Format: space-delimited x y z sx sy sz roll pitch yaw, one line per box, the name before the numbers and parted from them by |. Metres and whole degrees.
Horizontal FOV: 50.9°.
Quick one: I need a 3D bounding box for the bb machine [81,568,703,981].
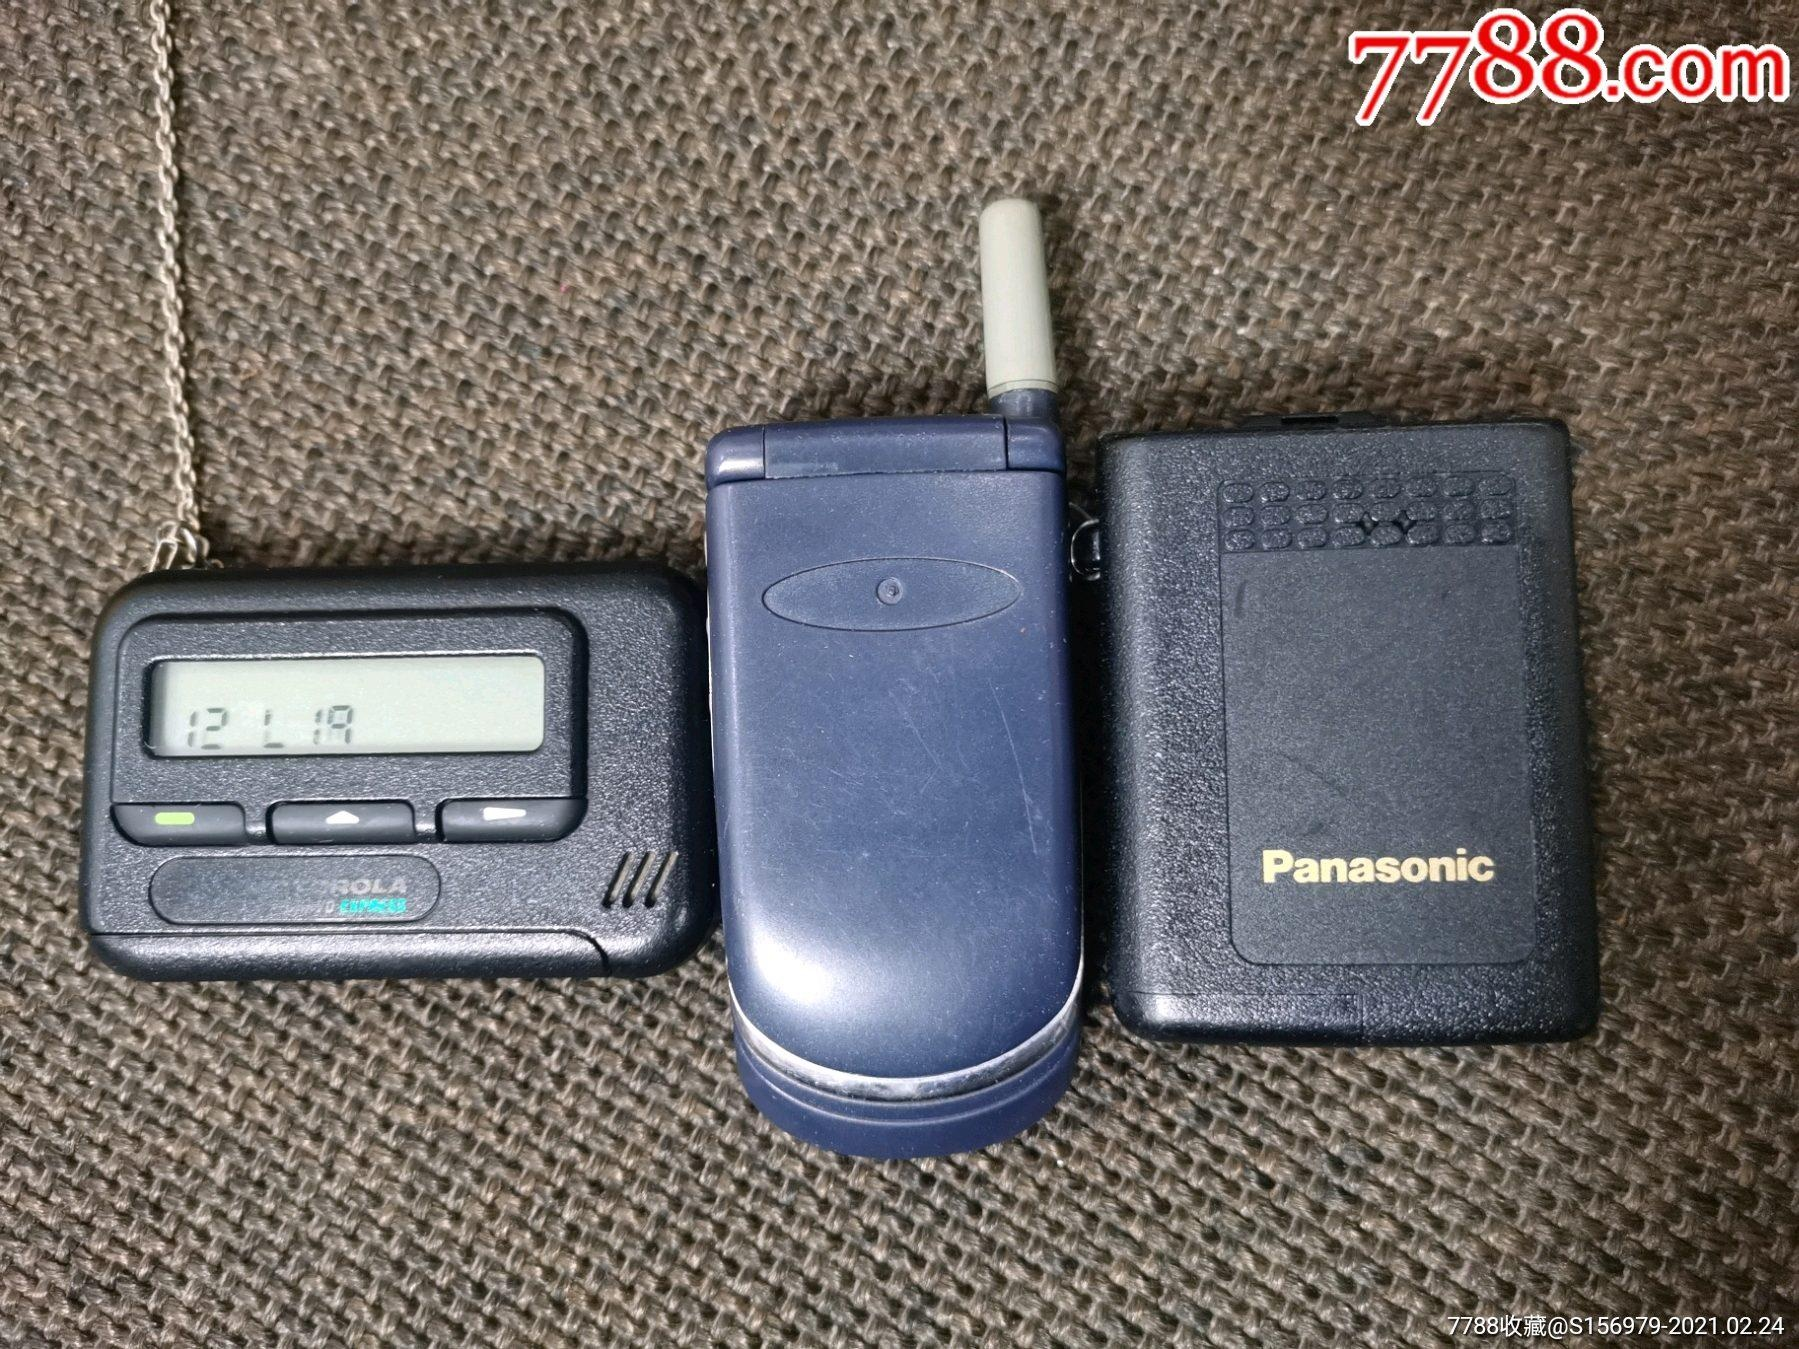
bb machine | -0.246 0.052 0.989 0.385 0.209 0.080 2 -3 18
